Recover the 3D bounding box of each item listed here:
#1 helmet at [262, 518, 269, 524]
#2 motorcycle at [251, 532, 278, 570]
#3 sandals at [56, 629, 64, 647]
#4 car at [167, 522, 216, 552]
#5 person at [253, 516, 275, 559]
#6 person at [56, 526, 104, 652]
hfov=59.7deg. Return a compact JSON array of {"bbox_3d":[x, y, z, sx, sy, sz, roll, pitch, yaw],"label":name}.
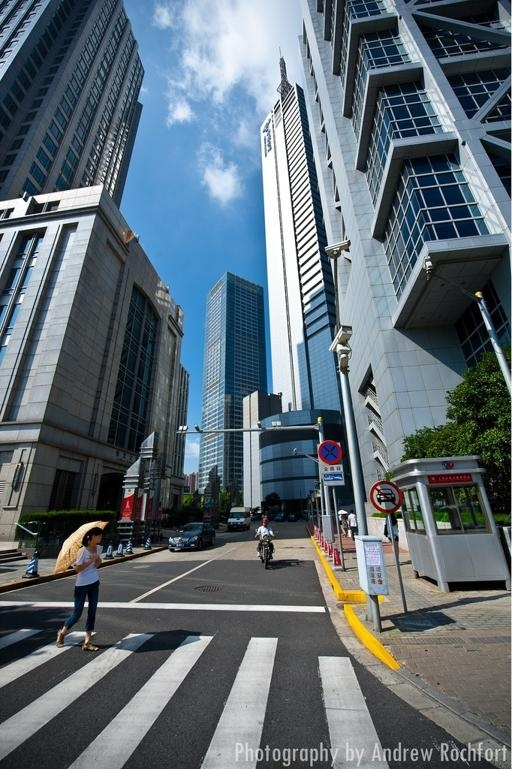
[{"bbox_3d":[0.310,4.200,14.515,0.162,0.313,0.280,3,-3,-2],"label":"helmet"},{"bbox_3d":[0.298,5.004,14.123,0.426,0.825,1.234,0,-28,-1],"label":"motorcycle"},{"bbox_3d":[-2.680,3.323,6.097,0.073,0.121,0.328,2,-51,-10],"label":"sandals"},{"bbox_3d":[-2.824,6.376,19.686,1.132,1.123,3.283,-2,-11,10],"label":"car"},{"bbox_3d":[0.275,4.798,14.656,0.597,1.000,1.651,-1,-33,0],"label":"person"},{"bbox_3d":[-2.489,2.705,6.358,0.577,1.582,1.099,1,-5,-25],"label":"person"}]
